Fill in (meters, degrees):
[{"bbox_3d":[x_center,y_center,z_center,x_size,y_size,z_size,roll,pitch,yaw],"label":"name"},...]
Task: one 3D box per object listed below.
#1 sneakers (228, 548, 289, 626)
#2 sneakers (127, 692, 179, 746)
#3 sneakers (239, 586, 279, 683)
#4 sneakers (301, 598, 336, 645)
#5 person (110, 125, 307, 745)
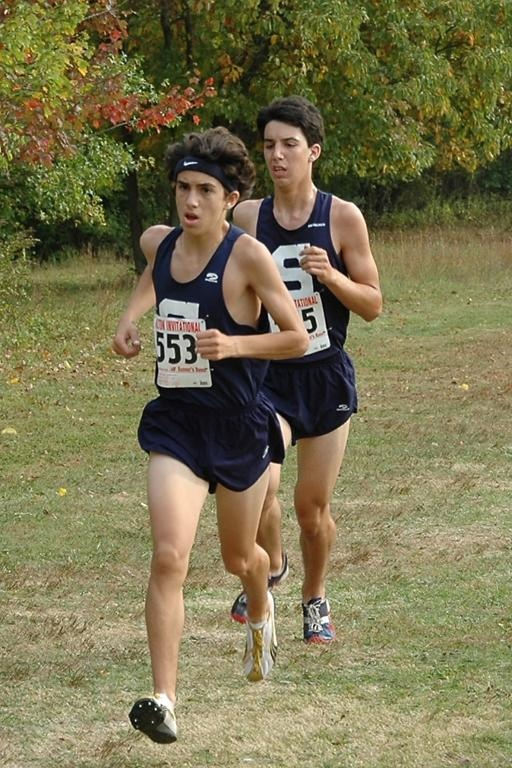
[{"bbox_3d":[0.007,0.878,3.997,0.141,0.161,0.404,29,39,24],"label":"sneakers"},{"bbox_3d":[-0.239,0.849,2.322,0.078,0.182,0.082,-19,44,13],"label":"sneakers"},{"bbox_3d":[0.019,0.915,3.335,0.126,0.317,0.135,2,10,7],"label":"sneakers"},{"bbox_3d":[0.260,0.975,3.719,0.110,0.081,0.203,-4,28,4],"label":"sneakers"},{"bbox_3d":[-0.104,0.175,2.779,0.542,1.941,1.130,-1,7,3],"label":"person"}]
